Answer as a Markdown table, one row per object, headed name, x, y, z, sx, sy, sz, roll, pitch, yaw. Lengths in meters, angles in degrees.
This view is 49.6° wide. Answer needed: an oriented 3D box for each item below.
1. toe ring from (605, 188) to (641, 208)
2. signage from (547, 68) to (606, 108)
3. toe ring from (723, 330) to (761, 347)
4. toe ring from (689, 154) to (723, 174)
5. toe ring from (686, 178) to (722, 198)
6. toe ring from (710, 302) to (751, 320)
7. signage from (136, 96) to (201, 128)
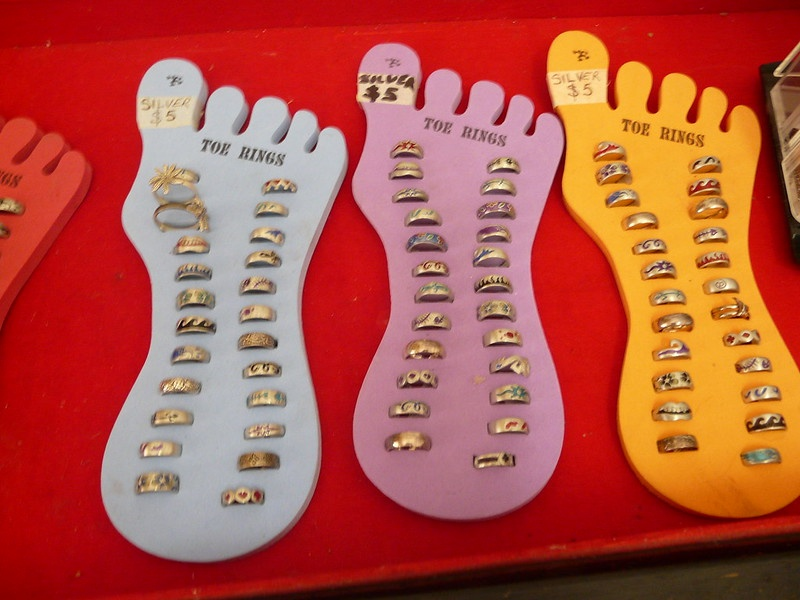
| name | x | y | z | sx | sy | sz | roll | pitch | yaw |
| --- | --- | --- | --- | --- | --- | --- | --- | --- | --- |
| toe ring | 0.479 | -0.219 | 1.869 | 0.041 | 0.046 | 0.012 | -13 | 74 | 31 |
| signage | 0.407 | -0.485 | 1.924 | 0.133 | 0.036 | 0.090 | -5 | 85 | -3 |
| toe ring | 0.704 | 0.081 | 1.778 | 0.072 | 0.025 | 0.030 | -4 | 83 | 0 |
| toe ring | 0.668 | -0.295 | 1.895 | 0.045 | 0.045 | 0.048 | 10 | 73 | -36 |
| toe ring | 0.659 | -0.243 | 1.875 | 0.043 | 0.042 | 0.048 | 9 | 76 | -40 |
| toe ring | 0.686 | 0.025 | 1.791 | 0.045 | 0.045 | 0.031 | 3 | 97 | 22 |
| signage | -0.528 | -0.433 | 1.985 | 0.120 | 0.030 | 0.081 | -7 | 84 | 0 |
